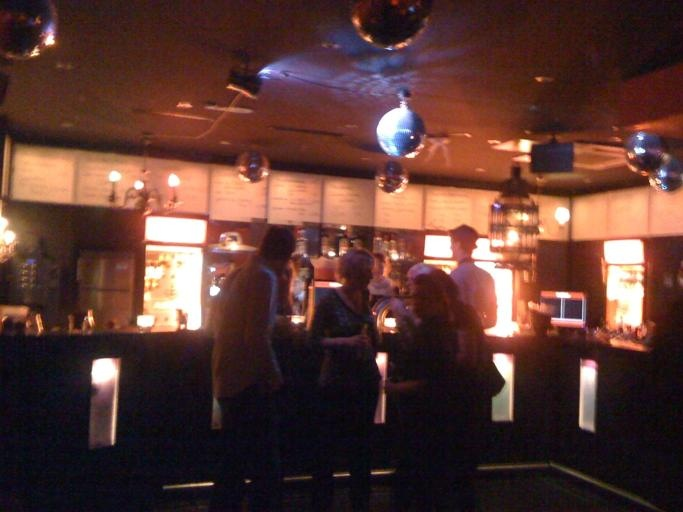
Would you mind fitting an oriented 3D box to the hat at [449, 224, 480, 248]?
[{"bbox_3d":[1.010,-0.174,5.561,0.171,0.198,0.215,0,6,-8],"label":"hat"}]
